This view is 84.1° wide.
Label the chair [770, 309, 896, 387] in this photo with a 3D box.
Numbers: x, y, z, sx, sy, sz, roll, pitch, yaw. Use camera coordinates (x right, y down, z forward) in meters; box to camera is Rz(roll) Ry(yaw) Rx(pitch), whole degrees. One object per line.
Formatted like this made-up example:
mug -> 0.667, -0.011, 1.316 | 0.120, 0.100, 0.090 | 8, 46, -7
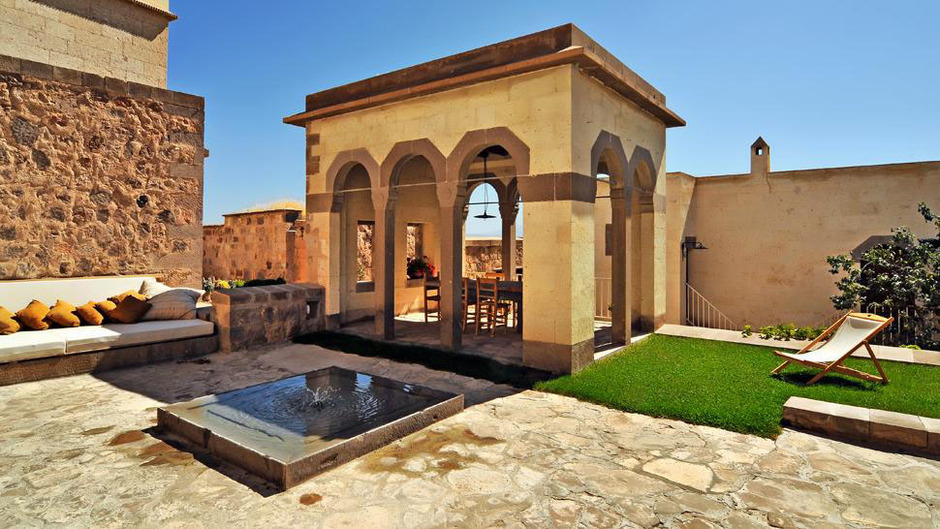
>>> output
chair -> 6.628, 1.492, 9.707 | 2.043, 1.326, 1.357 | -3, 1, -5
